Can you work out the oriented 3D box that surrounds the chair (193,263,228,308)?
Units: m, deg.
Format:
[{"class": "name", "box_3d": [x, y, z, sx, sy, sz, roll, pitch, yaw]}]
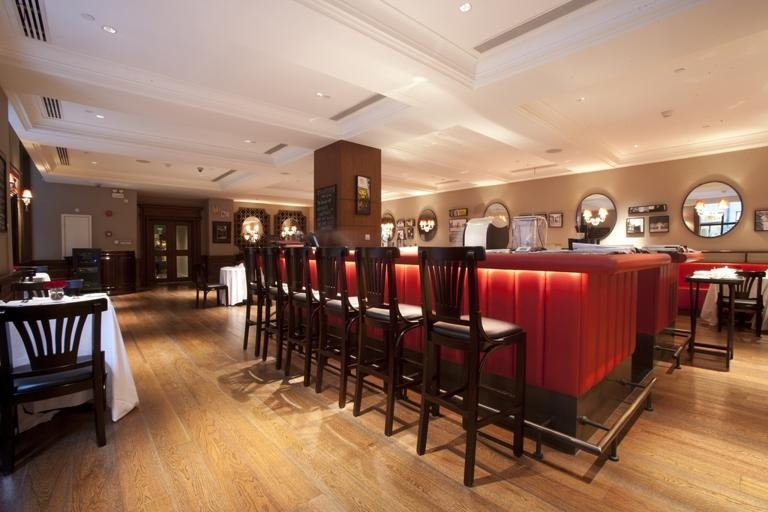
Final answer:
[{"class": "chair", "box_3d": [-3.881, 0.610, 10.721, 0.661, 0.953, 0.676, 2, 4, 38]}]

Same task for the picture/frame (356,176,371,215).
[{"class": "picture/frame", "box_3d": [-0.420, -1.240, 9.695, 0.077, 0.747, 0.373, 2, 4, 43]}]

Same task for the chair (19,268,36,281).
[{"class": "chair", "box_3d": [-5.314, 0.265, 7.164, 0.212, 0.215, 0.152, 0, 3, -33]}]

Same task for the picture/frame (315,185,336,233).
[{"class": "picture/frame", "box_3d": [-1.166, -0.984, 9.709, 0.061, 1.381, 0.960, 0, 0, -36]}]

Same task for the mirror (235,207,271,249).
[{"class": "mirror", "box_3d": [-4.395, -0.942, 15.801, 0.113, 1.793, 1.742, -2, -2, 40]}]

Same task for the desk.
[{"class": "desk", "box_3d": [4.808, 0.865, 7.009, 0.644, 1.238, 1.265, 1, 4, 36]}]

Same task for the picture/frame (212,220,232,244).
[{"class": "picture/frame", "box_3d": [-5.317, -0.821, 15.654, 0.068, 0.878, 0.767, 5, 3, 43]}]
